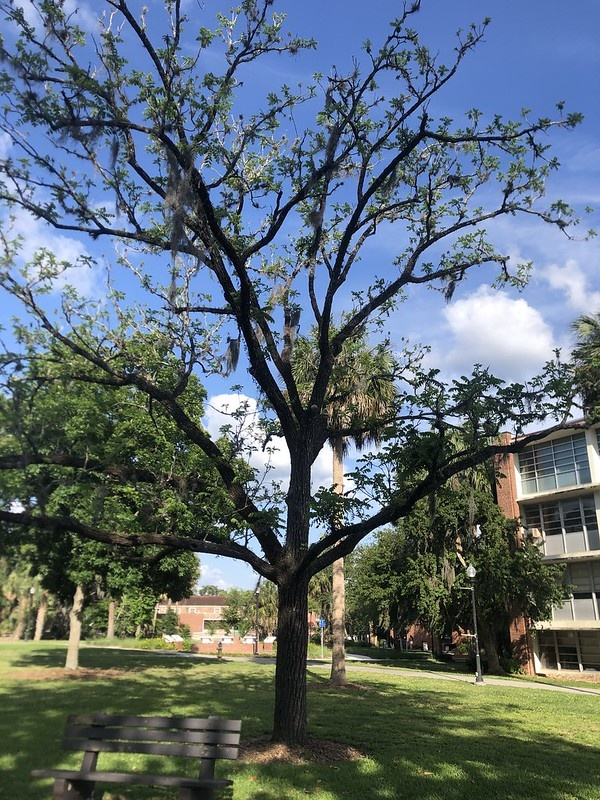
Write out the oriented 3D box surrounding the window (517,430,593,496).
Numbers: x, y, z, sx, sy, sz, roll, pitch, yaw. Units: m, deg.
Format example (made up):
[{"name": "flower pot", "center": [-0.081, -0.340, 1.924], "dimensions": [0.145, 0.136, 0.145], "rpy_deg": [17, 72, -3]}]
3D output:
[{"name": "window", "center": [12.736, 3.105, 27.484], "dimensions": [0.194, 2.939, 4.746], "rpy_deg": [12, -22, -20]}]
